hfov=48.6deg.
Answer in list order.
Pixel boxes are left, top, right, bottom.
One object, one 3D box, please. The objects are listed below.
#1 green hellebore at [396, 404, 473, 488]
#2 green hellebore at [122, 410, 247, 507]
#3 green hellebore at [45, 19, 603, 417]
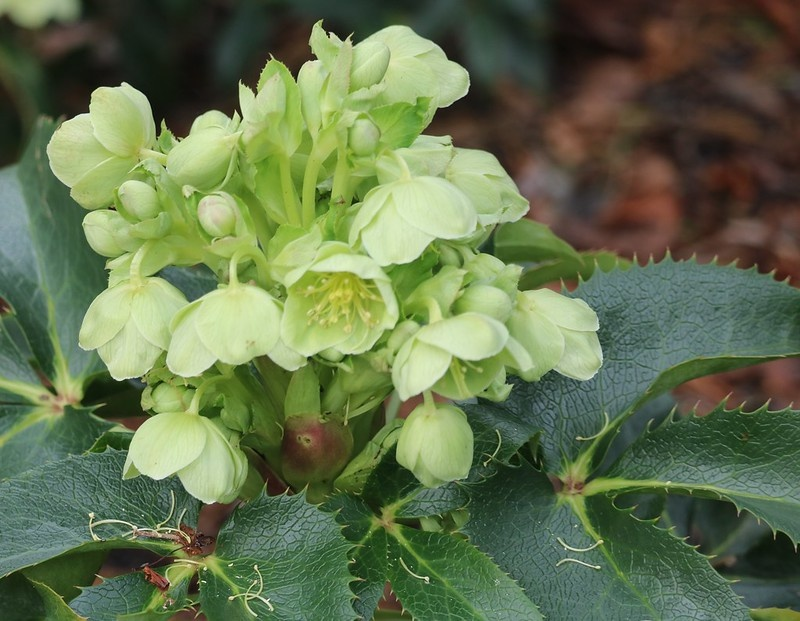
[{"bbox_3d":[0.041,0.136,0.951,0.076,0.083,0.079,0,55,8],"label":"green hellebore"},{"bbox_3d":[-0.219,0.150,0.911,0.100,0.062,0.100,-22,61,-14],"label":"green hellebore"},{"bbox_3d":[-0.062,-0.038,1.055,0.559,0.502,0.432,-6,59,7],"label":"green hellebore"}]
